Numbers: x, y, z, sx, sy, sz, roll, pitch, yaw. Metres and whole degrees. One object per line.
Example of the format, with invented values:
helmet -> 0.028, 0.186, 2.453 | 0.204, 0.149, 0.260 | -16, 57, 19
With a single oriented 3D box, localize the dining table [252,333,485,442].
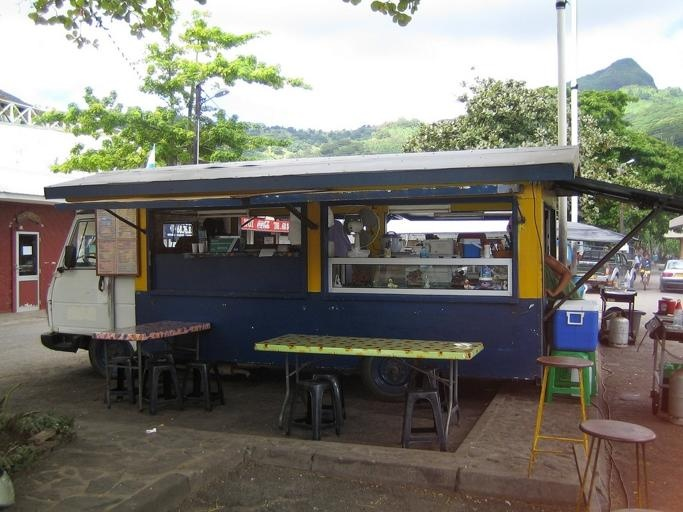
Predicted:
dining table -> 0.296, 1.420, 6.869 | 2.349, 0.964, 0.865 | 0, 5, 18

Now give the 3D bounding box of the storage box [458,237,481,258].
storage box -> 1.647, -0.095, 7.814 | 0.257, 0.256, 0.185 | 0, -4, 15

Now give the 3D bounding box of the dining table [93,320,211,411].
dining table -> -2.510, 1.483, 8.184 | 1.543, 1.023, 1.640 | 3, -2, -17

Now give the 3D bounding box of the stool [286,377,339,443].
stool -> -0.308, 1.690, 6.847 | 0.608, 0.589, 0.614 | -3, -6, 37

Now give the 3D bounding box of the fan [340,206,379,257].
fan -> 0.265, -0.308, 8.222 | 0.600, 0.734, 0.355 | 4, 8, 27

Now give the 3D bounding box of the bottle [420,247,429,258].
bottle -> 1.085, -0.052, 7.936 | 0.120, 0.121, 0.022 | 0, 2, 12

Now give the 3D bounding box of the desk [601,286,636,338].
desk -> 5.797, 1.172, 12.807 | 0.782, 1.024, 0.782 | 1, 6, 18

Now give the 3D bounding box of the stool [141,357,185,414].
stool -> -2.275, 1.633, 7.762 | 0.431, 0.584, 0.459 | -7, -15, 3

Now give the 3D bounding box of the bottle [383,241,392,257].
bottle -> 0.610, -0.097, 8.077 | 0.091, 0.194, 0.049 | 0, 2, 8

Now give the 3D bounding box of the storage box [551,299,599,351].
storage box -> 2.955, 0.726, 7.727 | 0.504, 0.601, 0.885 | -1, -1, 28

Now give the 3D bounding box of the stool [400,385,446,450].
stool -> 0.870, 1.700, 6.348 | 0.565, 0.540, 0.565 | 5, -16, -30

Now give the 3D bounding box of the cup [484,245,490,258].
cup -> 1.863, -0.060, 7.747 | 0.133, 0.151, 0.065 | -1, 2, -39

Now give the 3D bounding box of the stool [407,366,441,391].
stool -> 0.935, 1.410, 7.052 | 0.387, 0.309, 0.387 | 1, -9, -7
